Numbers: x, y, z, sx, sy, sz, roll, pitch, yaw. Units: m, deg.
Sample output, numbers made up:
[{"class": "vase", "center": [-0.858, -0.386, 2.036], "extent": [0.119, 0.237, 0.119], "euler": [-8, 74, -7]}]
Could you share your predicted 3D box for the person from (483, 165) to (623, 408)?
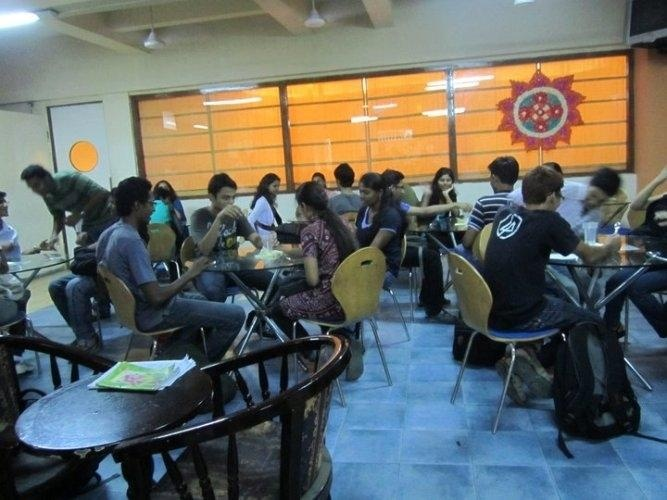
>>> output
[{"class": "person", "center": [1.251, 0.223, 3.145], "extent": [0.892, 1.364, 0.660], "euler": [2, 3, -20]}]

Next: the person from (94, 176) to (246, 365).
[{"class": "person", "center": [-1.090, 0.232, 3.401], "extent": [0.897, 1.330, 0.673], "euler": [2, 7, -28]}]

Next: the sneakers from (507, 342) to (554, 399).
[{"class": "sneakers", "center": [1.163, 0.703, 3.041], "extent": [0.121, 0.368, 0.258], "euler": [-16, 33, 48]}]

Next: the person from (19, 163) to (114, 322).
[{"class": "person", "center": [-2.400, -0.164, 4.898], "extent": [0.557, 1.405, 0.785], "euler": [-13, 9, 38]}]

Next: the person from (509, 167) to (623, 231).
[{"class": "person", "center": [1.603, -0.337, 3.522], "extent": [0.744, 0.282, 0.244], "euler": [20, 27, 28]}]

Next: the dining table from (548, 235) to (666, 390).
[{"class": "dining table", "center": [1.643, 0.361, 3.100], "extent": [0.681, 0.754, 0.712], "euler": [-10, 15, -13]}]

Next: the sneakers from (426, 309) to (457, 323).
[{"class": "sneakers", "center": [0.949, 0.577, 4.522], "extent": [0.226, 0.092, 0.115], "euler": [-3, 4, -1]}]

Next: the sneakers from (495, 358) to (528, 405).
[{"class": "sneakers", "center": [1.061, 0.776, 3.060], "extent": [0.194, 0.284, 0.096], "euler": [-46, 13, -36]}]

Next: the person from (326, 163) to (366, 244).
[{"class": "person", "center": [0.127, -0.466, 5.305], "extent": [0.369, 0.796, 0.361], "euler": [8, 20, 22]}]

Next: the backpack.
[{"class": "backpack", "center": [1.348, 0.693, 2.783], "extent": [0.468, 0.613, 0.660], "euler": [-6, 9, -6]}]

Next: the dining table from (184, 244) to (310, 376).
[{"class": "dining table", "center": [-0.617, 0.392, 3.732], "extent": [0.873, 0.554, 0.858], "euler": [-1, 10, -5]}]
